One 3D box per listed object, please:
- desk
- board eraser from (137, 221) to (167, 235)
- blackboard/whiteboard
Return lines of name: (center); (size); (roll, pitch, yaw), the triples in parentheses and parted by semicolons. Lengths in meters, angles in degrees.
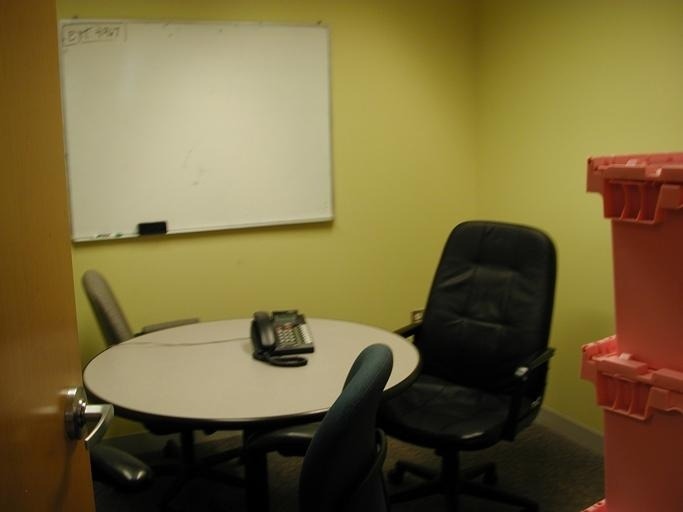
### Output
desk: (-0.445, 0.614, 2.144); (0.804, 0.440, 0.829); (-3, 12, -14)
board eraser: (-0.996, -0.148, 2.935); (0.151, 0.069, 0.021); (-4, 13, -16)
blackboard/whiteboard: (-0.799, -0.686, 2.886); (1.173, 0.938, 0.059); (-5, 8, -19)
